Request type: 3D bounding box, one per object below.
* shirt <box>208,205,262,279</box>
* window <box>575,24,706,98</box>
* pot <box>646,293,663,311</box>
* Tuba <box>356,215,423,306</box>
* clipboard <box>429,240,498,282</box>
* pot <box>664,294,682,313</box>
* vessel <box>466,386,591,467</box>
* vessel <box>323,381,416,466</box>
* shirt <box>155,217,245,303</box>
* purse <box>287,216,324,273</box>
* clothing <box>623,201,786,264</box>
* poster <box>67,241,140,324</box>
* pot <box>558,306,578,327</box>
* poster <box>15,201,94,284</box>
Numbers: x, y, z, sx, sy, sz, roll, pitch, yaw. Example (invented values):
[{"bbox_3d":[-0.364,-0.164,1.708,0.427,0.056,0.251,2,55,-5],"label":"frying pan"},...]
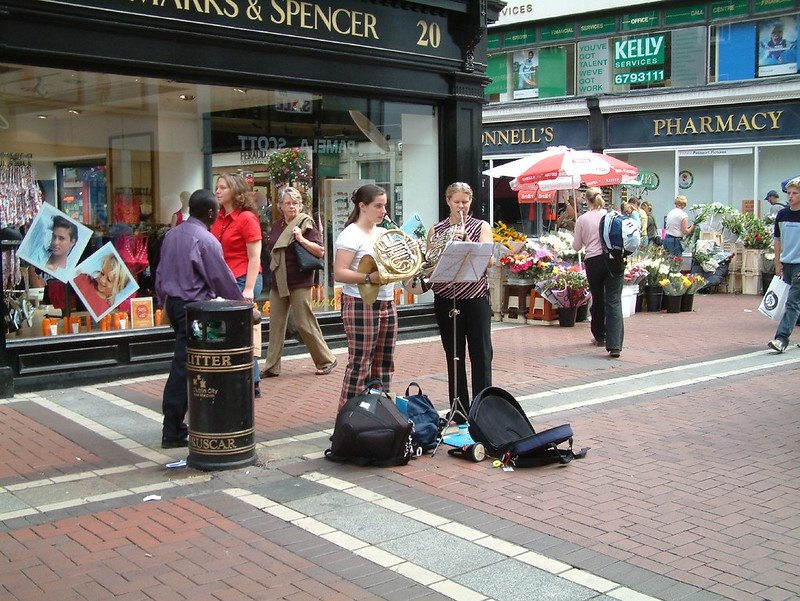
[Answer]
[{"bbox_3d":[-1.714,-0.595,8.105,0.787,0.793,0.416,2,7,42],"label":"shirt"},{"bbox_3d":[6.906,-6.928,22.612,3.931,1.695,0.063,1,-3,21],"label":"window"},{"bbox_3d":[4.757,0.034,14.738,0.315,0.323,0.315,0,-1,0],"label":"pot"},{"bbox_3d":[-0.068,-0.269,6.741,0.701,0.434,0.338,-28,-25,-34],"label":"Tuba"},{"bbox_3d":[0.508,-0.338,6.716,0.528,0.053,0.350,-3,-38,-40],"label":"clipboard"},{"bbox_3d":[5.074,0.074,14.610,0.303,0.275,0.306,0,-4,0],"label":"pot"},{"bbox_3d":[1.049,1.070,6.712,0.966,0.632,0.754,0,2,39],"label":"vessel"},{"bbox_3d":[-0.267,1.037,6.697,0.703,0.626,0.607,5,18,7],"label":"vessel"},{"bbox_3d":[-1.901,-0.325,7.061,0.969,0.849,0.387,10,14,30],"label":"shirt"},{"bbox_3d":[-1.107,-0.634,9.319,0.161,0.549,0.498,-11,-9,40],"label":"purse"},{"bbox_3d":[7.332,-1.655,17.521,1.762,0.958,1.725,-7,13,-39],"label":"clothing"},{"bbox_3d":[-3.648,-0.203,9.606,0.197,0.861,0.861,-11,29,46],"label":"poster"},{"bbox_3d":[2.763,0.295,13.045,0.316,0.286,0.297,2,1,0],"label":"pot"},{"bbox_3d":[-4.102,-0.657,9.205,0.050,0.740,0.744,2,-32,42],"label":"poster"}]
